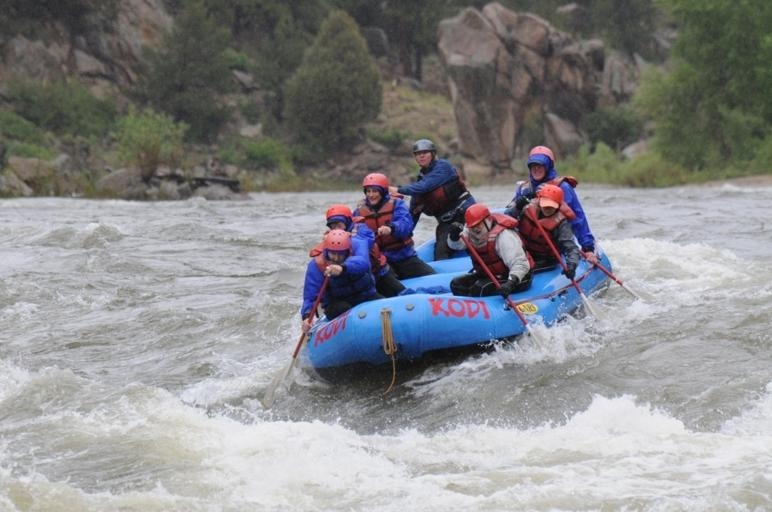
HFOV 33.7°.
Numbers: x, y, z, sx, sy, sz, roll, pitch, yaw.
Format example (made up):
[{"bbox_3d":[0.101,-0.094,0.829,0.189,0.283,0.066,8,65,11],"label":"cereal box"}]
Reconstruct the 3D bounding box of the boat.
[{"bbox_3d":[1.666,1.846,36.028,8.234,2.395,2.024,-6,12,-6],"label":"boat"}]

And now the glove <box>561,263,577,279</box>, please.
[{"bbox_3d":[5.223,0.439,36.100,0.186,0.419,0.326,-1,-31,-45],"label":"glove"}]

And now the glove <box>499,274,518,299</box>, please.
[{"bbox_3d":[3.442,0.893,35.506,0.409,0.264,0.693,-7,26,47],"label":"glove"}]

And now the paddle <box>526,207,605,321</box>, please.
[{"bbox_3d":[5.024,0.333,36.420,0.559,3.699,0.538,-37,-22,12],"label":"paddle"}]

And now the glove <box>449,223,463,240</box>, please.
[{"bbox_3d":[1.999,-0.694,36.165,0.364,0.458,0.475,0,-10,3],"label":"glove"}]
